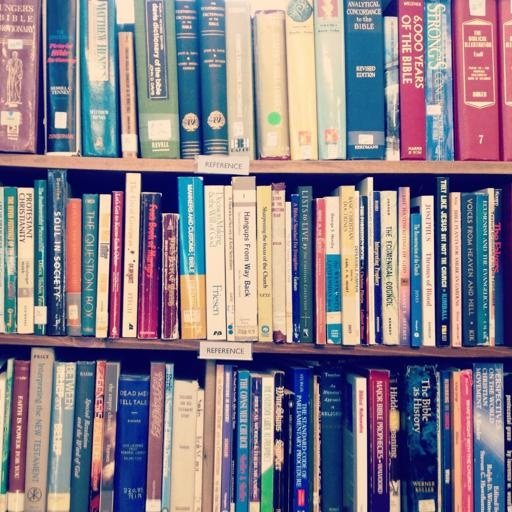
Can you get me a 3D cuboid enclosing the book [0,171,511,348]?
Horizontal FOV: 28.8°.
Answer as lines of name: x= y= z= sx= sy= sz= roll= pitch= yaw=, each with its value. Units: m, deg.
book: x=-0.008 y=0.027 z=2.427 sx=0.781 sy=0.211 sz=0.400 roll=-1 pitch=89 yaw=2
